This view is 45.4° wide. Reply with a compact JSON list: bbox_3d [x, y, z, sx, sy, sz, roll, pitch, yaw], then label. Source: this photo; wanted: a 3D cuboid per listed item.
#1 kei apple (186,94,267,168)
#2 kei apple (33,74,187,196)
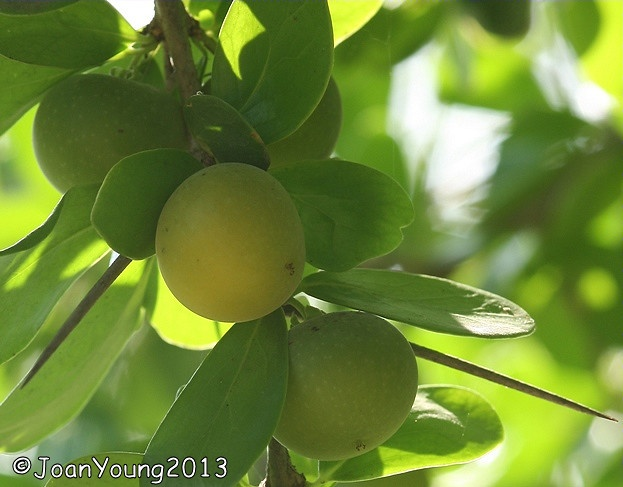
[{"bbox_3d":[-0.106,-0.159,1.052,0.131,0.075,0.027,42,40,-13],"label":"kei apple"},{"bbox_3d":[-0.304,-0.175,1.169,0.184,0.190,0.183,-20,87,-49],"label":"kei apple"}]
